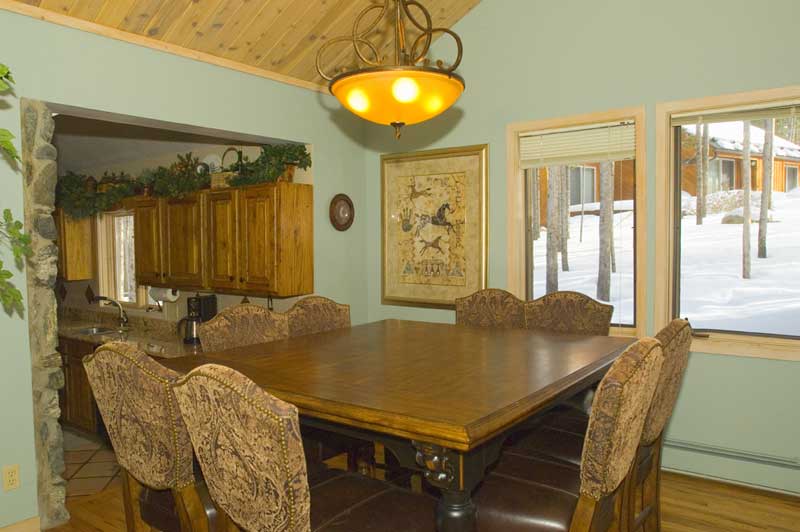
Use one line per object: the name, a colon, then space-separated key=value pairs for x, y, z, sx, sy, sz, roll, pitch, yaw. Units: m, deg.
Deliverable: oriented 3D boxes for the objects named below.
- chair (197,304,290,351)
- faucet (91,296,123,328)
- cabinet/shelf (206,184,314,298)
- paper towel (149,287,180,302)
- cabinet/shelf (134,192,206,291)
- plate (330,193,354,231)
chair: x=-0.949 y=0.366 z=3.524 sx=0.568 sy=0.244 sz=0.121 roll=-4 pitch=5 yaw=-45
faucet: x=-3.042 y=0.467 z=6.023 sx=0.137 sy=0.286 sz=0.686 roll=-5 pitch=5 yaw=-45
cabinet/shelf: x=-1.114 y=-0.208 z=4.696 sx=0.911 sy=0.862 sz=0.376 roll=1 pitch=3 yaw=32
paper towel: x=-2.278 y=0.310 z=5.532 sx=0.192 sy=0.165 sz=0.149 roll=-6 pitch=-8 yaw=41
cabinet/shelf: x=-2.157 y=-0.227 z=5.305 sx=1.143 sy=0.868 sz=0.220 roll=3 pitch=6 yaw=43
plate: x=-0.497 y=-0.464 z=5.029 sx=0.065 sy=0.326 sz=0.321 roll=3 pitch=5 yaw=32
